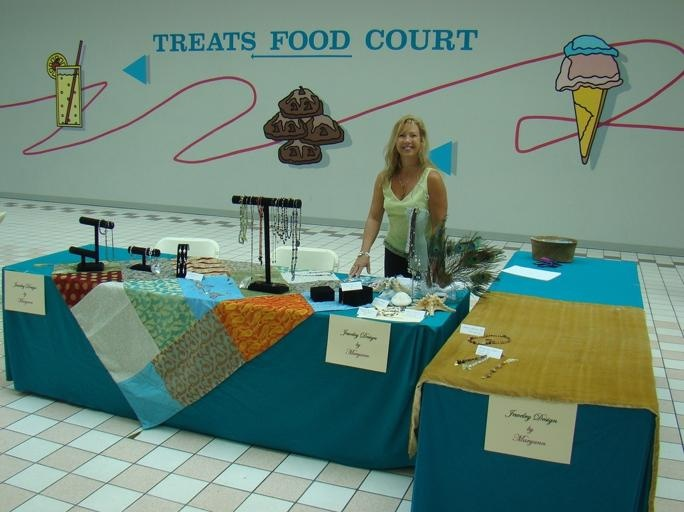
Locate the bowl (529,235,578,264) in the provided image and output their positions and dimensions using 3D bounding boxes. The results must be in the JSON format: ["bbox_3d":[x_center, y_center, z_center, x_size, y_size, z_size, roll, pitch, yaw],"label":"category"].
[{"bbox_3d":[1.588,-0.060,3.626,0.301,0.139,0.229,-5,13,-25],"label":"bowl"}]
